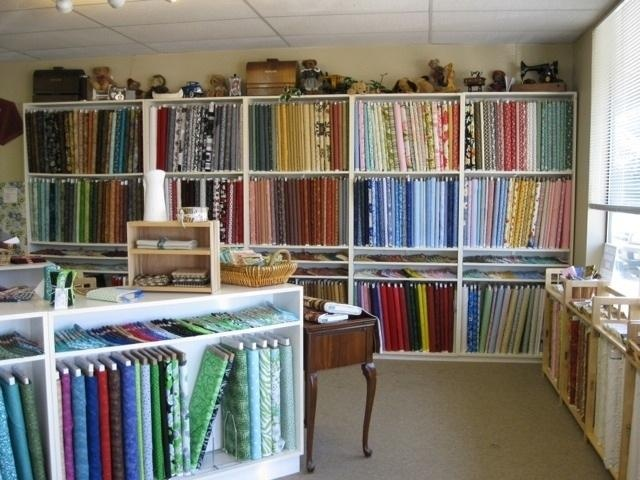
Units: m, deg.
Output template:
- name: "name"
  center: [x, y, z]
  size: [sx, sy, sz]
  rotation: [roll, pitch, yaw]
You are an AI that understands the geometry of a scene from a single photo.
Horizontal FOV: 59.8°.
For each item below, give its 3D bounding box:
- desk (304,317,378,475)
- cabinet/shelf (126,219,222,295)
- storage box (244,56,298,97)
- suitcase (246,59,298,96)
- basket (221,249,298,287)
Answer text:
- name: "desk"
  center: [0.150, 1.077, 4.013]
  size: [0.566, 1.069, 0.318]
  rotation: [-3, 9, -5]
- name: "cabinet/shelf"
  center: [-0.986, 0.111, 3.764]
  size: [0.501, 0.416, 0.195]
  rotation: [0, 0, 1]
- name: "storage box"
  center: [-0.512, -1.744, 5.958]
  size: [0.546, 0.403, 0.391]
  rotation: [1, 10, 7]
- name: "suitcase"
  center: [-0.527, -1.746, 5.959]
  size: [0.543, 0.398, 0.389]
  rotation: [1, 10, 7]
- name: "basket"
  center: [-0.370, 0.206, 4.021]
  size: [0.290, 0.180, 0.392]
  rotation: [3, 6, 31]
